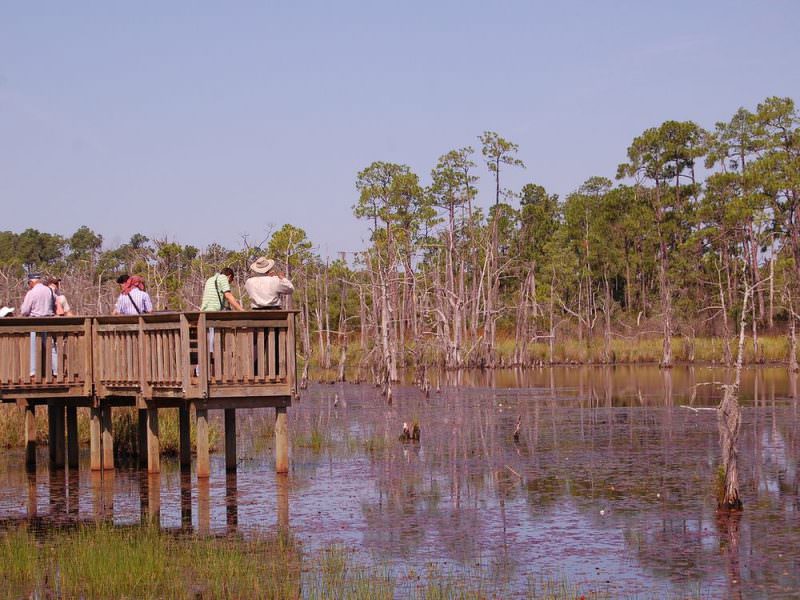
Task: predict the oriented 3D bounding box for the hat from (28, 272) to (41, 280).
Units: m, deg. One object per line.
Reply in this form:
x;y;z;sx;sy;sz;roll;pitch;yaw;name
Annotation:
-7.918;-0.531;29.257;0.170;0.159;0.265;-6;6;-38;hat

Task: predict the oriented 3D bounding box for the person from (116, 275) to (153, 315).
-5.825;-0.097;29.509;0.791;0.820;2.066;-1;6;-12;person

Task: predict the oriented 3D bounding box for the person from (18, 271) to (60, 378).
-7.769;0.496;29.082;0.765;2.138;1.503;-1;5;-15;person
